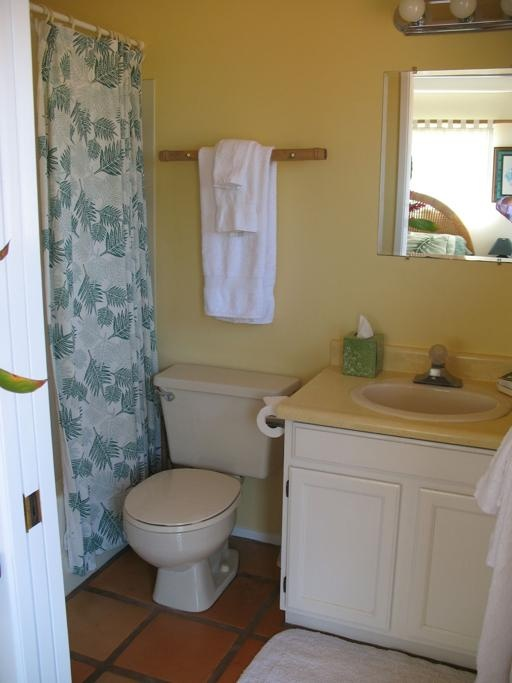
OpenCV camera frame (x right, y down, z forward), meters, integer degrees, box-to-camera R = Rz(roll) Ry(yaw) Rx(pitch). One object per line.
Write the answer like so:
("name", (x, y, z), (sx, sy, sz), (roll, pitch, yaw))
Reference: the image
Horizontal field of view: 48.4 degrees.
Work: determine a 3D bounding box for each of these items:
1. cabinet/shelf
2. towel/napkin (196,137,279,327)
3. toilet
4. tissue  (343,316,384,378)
("cabinet/shelf", (0.372, 0.563, 1.581), (0.604, 0.603, 0.329), (5, 15, 21))
("towel/napkin", (-0.062, -0.387, 2.116), (0.283, 0.678, 0.161), (-2, 9, -3))
("toilet", (-0.221, 0.536, 2.063), (0.506, 0.735, 0.677), (5, 10, 22))
("tissue ", (0.369, 0.014, 1.987), (0.142, 0.206, 0.169), (1, 9, 12))
